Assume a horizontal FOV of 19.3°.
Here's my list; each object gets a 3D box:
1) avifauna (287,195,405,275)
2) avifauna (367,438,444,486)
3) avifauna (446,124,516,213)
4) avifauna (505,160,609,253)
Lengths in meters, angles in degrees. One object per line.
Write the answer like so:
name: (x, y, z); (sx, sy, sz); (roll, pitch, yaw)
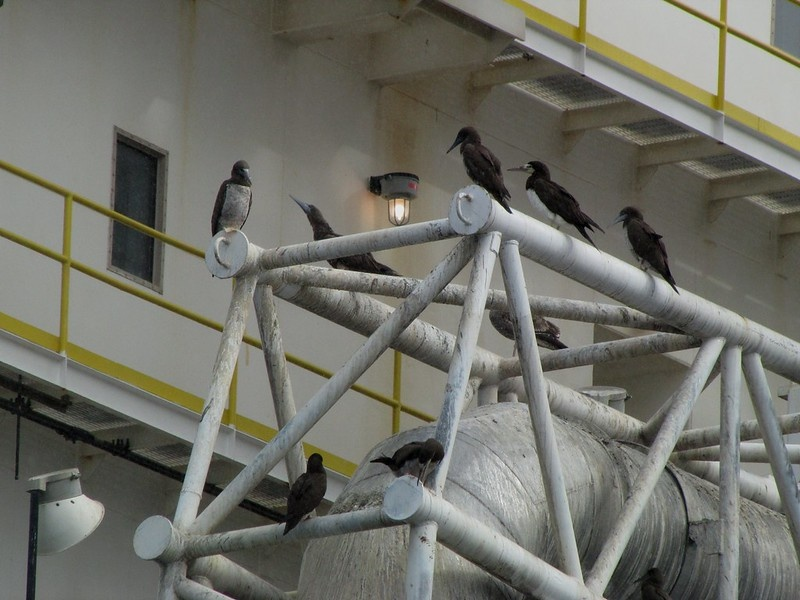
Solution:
avifauna: (-0.510, -0.564, 23.137); (1.133, 0.794, 0.372); (5, -4, -15)
avifauna: (0.067, 1.296, 20.081); (0.257, 0.397, 0.765); (17, -4, -35)
avifauna: (0.684, -1.181, 21.268); (0.551, 0.892, 0.299); (-9, -22, 13)
avifauna: (1.474, -0.905, 21.935); (0.829, 0.770, 0.377); (6, -18, -3)
